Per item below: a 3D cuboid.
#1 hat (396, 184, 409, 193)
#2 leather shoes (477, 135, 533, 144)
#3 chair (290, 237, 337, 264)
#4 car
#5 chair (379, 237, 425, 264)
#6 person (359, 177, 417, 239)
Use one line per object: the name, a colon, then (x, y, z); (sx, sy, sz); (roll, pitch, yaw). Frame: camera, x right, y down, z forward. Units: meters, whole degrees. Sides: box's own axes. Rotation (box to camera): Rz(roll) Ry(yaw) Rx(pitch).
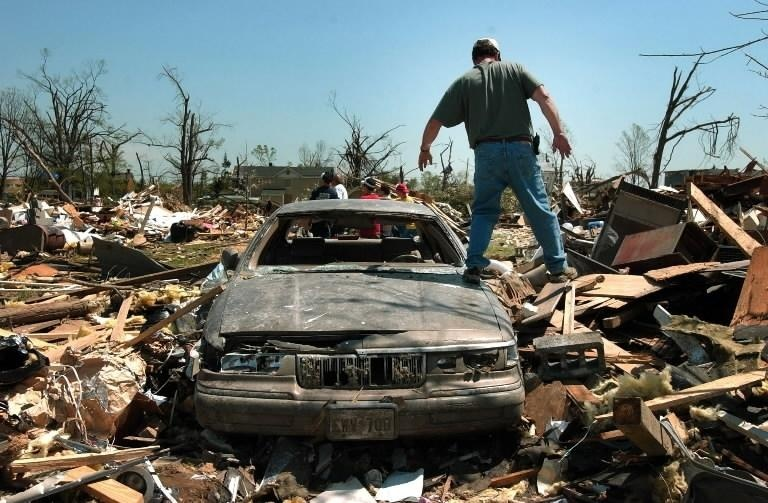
hat: (0.397, -1.443, 10.299); (0.254, 0.111, 0.264); (1, 7, 0)
leather shoes: (1.231, -1.165, 4.712); (0.576, 0.075, 0.107); (0, 4, 14)
chair: (-0.736, -0.005, 4.699); (0.473, 0.283, 0.281); (2, 30, -3)
car: (-0.291, 0.231, 4.693); (2.583, 1.123, 3.577); (-1, 16, -6)
chair: (0.181, 0.010, 4.881); (0.359, 0.343, 0.341); (0, 30, 6)
person: (0.067, -0.889, 9.172); (1.566, 0.620, 1.666); (3, 37, -6)
